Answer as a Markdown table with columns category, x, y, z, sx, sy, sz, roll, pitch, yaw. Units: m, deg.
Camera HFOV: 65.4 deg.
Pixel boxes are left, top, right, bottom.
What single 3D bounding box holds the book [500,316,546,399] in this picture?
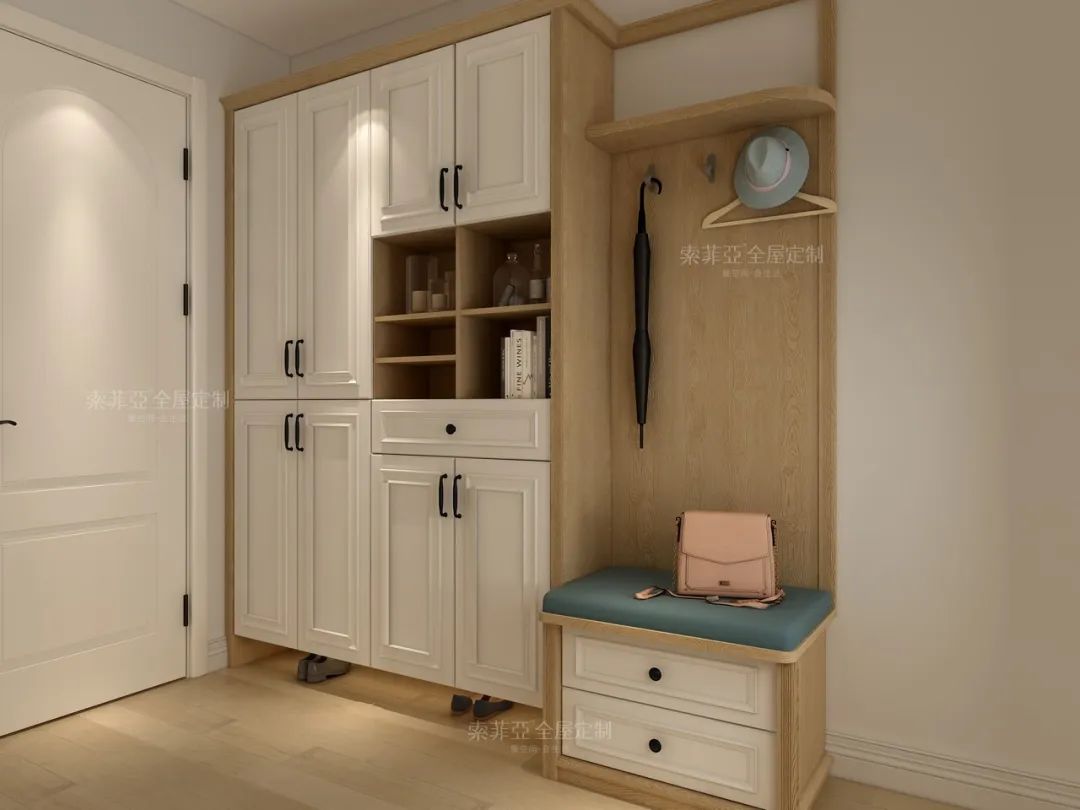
| category | x | y | z | sx | sy | sz | roll | pitch | yaw |
| --- | --- | --- | --- | --- | --- | --- | --- | --- | --- |
| book | -0.055 | -0.194 | 3.422 | 0.188 | 0.331 | 0.171 | 0 | 8 | -2 |
